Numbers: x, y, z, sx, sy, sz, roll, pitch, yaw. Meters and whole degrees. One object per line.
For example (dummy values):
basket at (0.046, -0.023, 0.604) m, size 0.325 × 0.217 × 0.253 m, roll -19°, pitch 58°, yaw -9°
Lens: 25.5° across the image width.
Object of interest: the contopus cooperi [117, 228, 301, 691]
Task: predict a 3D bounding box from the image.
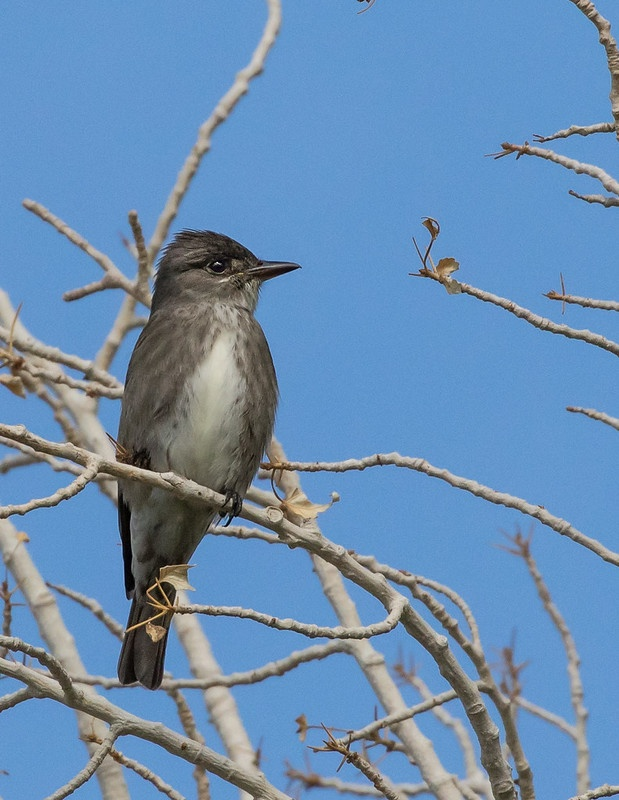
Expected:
contopus cooperi at (-0.474, 0.145, 5.342) m, size 0.767 × 1.142 × 1.735 m, roll 0°, pitch -83°, yaw -13°
